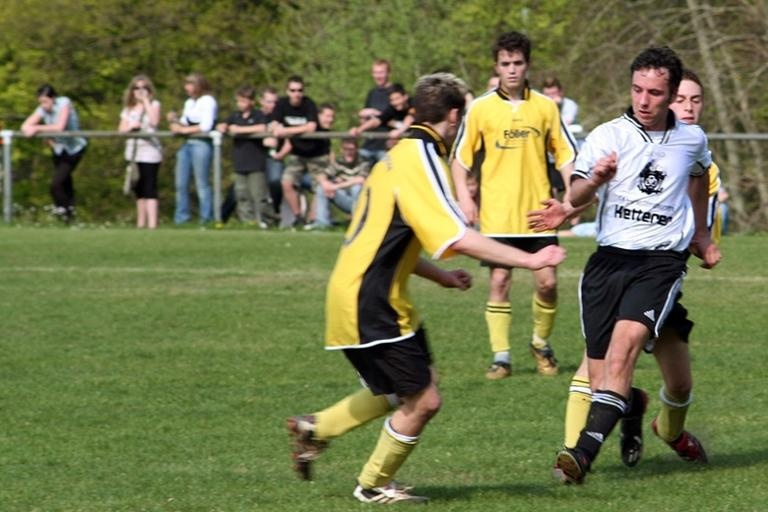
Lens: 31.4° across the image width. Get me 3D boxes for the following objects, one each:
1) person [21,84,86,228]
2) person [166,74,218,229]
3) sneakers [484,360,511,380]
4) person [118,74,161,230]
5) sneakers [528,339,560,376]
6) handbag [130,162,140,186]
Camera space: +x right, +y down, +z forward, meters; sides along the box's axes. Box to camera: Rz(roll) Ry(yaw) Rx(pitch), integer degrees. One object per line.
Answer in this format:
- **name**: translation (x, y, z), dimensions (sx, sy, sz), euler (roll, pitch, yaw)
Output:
- **person**: translation (-4.455, -1.408, 18.686), dimensions (0.759, 1.881, 0.752), euler (0, 3, 28)
- **person**: translation (-2.580, -1.445, 18.321), dimensions (0.562, 2.017, 0.613), euler (-1, 3, -4)
- **sneakers**: translation (1.223, 1.234, 14.610), dimensions (0.193, 0.130, 0.354), euler (-1, -5, 11)
- **person**: translation (-3.276, -1.398, 18.259), dimensions (0.567, 2.047, 0.664), euler (-1, 3, -11)
- **sneakers**: translation (1.739, 1.123, 14.766), dimensions (0.179, 0.185, 0.449), euler (-10, 46, -38)
- **handbag**: translation (-3.369, -1.098, 18.221), dimensions (0.149, 0.334, 0.191), euler (-1, 3, -11)
